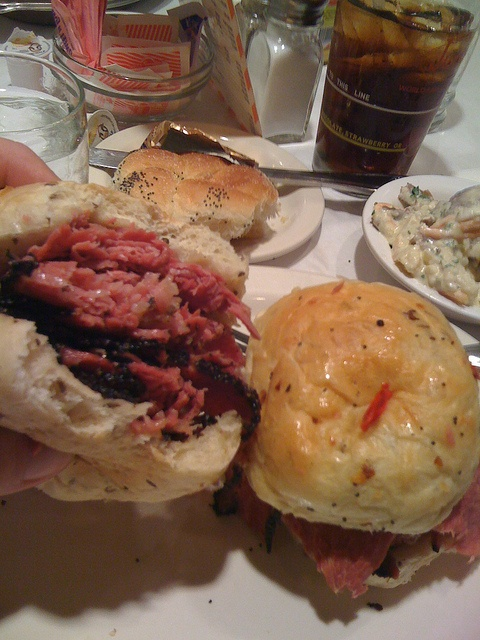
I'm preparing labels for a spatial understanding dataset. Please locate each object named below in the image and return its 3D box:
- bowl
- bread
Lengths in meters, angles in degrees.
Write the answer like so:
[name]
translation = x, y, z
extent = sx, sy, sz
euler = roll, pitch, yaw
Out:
[bowl]
translation = -0.435, -1.070, 2.333
extent = 0.502, 0.209, 0.532
euler = 3, 57, -5
[bread]
translation = -0.142, -0.463, 1.980
extent = 0.465, 0.172, 0.425
euler = 9, 20, -46
